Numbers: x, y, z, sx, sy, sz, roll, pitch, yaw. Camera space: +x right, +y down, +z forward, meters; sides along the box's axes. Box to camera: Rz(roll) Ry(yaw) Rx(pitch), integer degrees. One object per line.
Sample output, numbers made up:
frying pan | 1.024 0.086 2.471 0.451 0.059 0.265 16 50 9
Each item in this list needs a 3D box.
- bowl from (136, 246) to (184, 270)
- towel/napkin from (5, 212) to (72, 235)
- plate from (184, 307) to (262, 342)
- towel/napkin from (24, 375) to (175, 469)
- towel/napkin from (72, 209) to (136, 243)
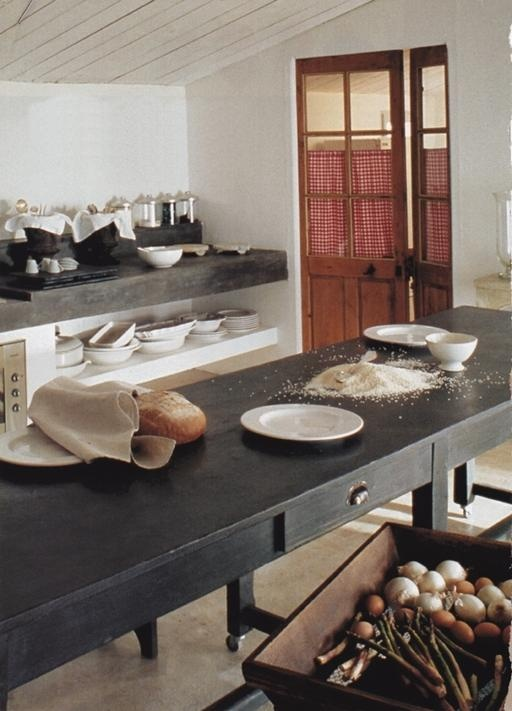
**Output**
bowl | -0.638 -0.661 4.390 0.270 0.145 0.331 -3 9 2
towel/napkin | -1.287 -0.774 3.789 0.354 0.130 0.228 -5 9 -14
plate | -0.225 -0.223 4.772 0.313 0.102 0.311 -19 17 -41
towel/napkin | -0.339 0.131 1.362 0.281 0.092 0.174 19 15 39
towel/napkin | -0.979 -0.803 4.148 0.330 0.173 0.265 -11 19 -32
